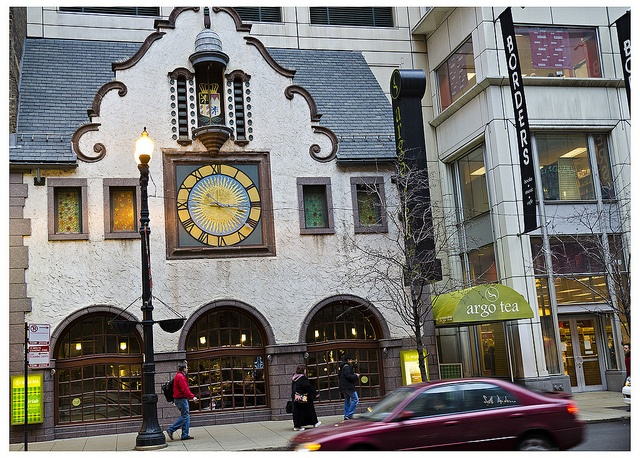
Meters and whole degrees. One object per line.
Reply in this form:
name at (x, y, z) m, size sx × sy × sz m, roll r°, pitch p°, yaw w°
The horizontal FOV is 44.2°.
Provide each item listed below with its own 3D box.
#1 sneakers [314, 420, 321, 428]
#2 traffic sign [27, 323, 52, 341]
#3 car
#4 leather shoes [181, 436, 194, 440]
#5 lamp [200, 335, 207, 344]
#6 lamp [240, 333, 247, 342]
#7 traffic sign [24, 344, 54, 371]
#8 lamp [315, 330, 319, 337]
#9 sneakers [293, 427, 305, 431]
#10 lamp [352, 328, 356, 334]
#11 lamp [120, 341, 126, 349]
sneakers at (-0.055, 6.754, 27.247) m, size 0.118 × 0.125 × 0.307 m, roll 2°, pitch 8°, yaw 23°
traffic sign at (-9.196, 3.348, 25.629) m, size 0.716 × 0.745 × 0.108 m, roll -11°, pitch 11°, yaw -19°
car at (3.165, 5.148, 21.368) m, size 6.744 × 2.027 × 2.778 m, roll 1°, pitch -19°, yaw -4°
leather shoes at (-4.467, 7.016, 26.499) m, size 0.407 × 0.157 × 0.130 m, roll 0°, pitch -3°, yaw -12°
lamp at (-4.433, 4.178, 29.787) m, size 0.308 × 0.282 × 0.072 m, roll 3°, pitch -5°, yaw -1°
lamp at (-2.912, 4.137, 30.037) m, size 0.171 × 0.332 × 0.038 m, roll 2°, pitch -14°, yaw -24°
traffic sign at (-9.267, 4.148, 25.807) m, size 0.622 × 0.670 × 1.072 m, roll 0°, pitch -12°, yaw -16°
lamp at (-0.094, 4.058, 30.517) m, size 0.154 × 0.290 × 0.035 m, roll 1°, pitch -13°, yaw -21°
sneakers at (-0.709, 6.836, 26.875) m, size 0.326 × 0.120 × 0.104 m, roll -4°, pitch 25°, yaw 4°
lamp at (1.361, 4.002, 30.795) m, size 0.189 × 0.164 × 0.043 m, roll 4°, pitch -6°, yaw -18°
lamp at (-7.392, 4.311, 29.318) m, size 0.236 × 0.301 × 0.214 m, roll 3°, pitch 10°, yaw 38°
